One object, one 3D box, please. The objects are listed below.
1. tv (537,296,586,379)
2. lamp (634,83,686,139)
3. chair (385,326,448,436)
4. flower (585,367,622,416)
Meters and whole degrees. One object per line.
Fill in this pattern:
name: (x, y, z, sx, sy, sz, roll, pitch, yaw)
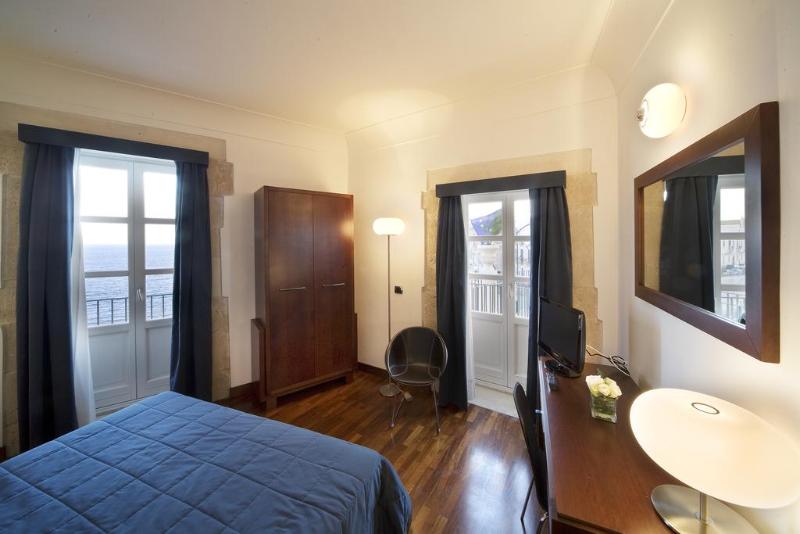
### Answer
tv: (1.383, 0.609, 4.767, 0.757, 0.572, 0.193, 25, -22, -37)
lamp: (2.072, -1.219, 4.240, 0.180, 0.373, 0.371, 2, -40, -12)
chair: (0.184, 1.174, 5.746, 0.626, 0.908, 0.665, 3, 14, 18)
flower: (1.606, 1.030, 4.205, 0.289, 0.325, 0.254, -1, -7, 22)
